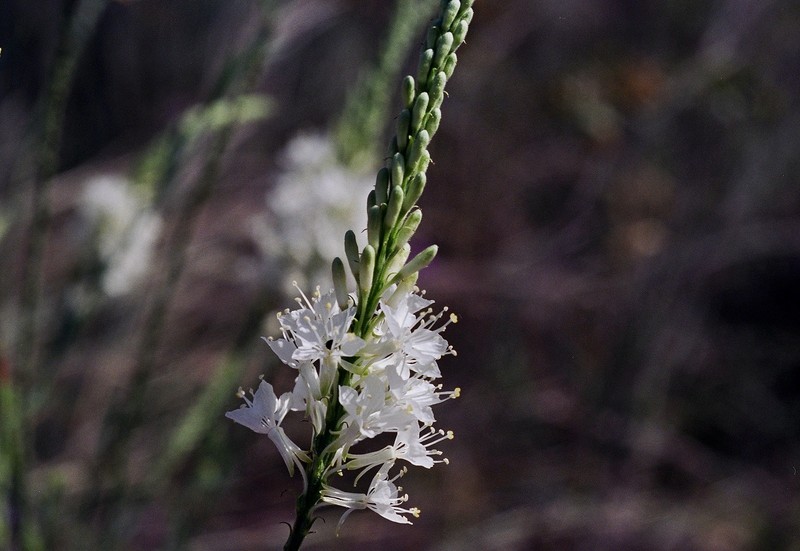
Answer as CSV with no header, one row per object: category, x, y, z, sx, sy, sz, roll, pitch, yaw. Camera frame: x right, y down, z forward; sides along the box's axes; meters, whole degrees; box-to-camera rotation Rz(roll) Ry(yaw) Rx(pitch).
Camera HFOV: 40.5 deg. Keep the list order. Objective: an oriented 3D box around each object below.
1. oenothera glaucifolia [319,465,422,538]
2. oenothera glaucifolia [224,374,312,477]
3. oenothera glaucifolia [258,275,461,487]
oenothera glaucifolia,-0.092,0.591,2.832,0.230,0.125,0.145,6,-92,-5
oenothera glaucifolia,-0.345,0.389,2.891,0.271,0.194,0.106,38,-29,31
oenothera glaucifolia,-0.133,0.272,2.807,0.489,0.399,0.406,9,-49,-1
